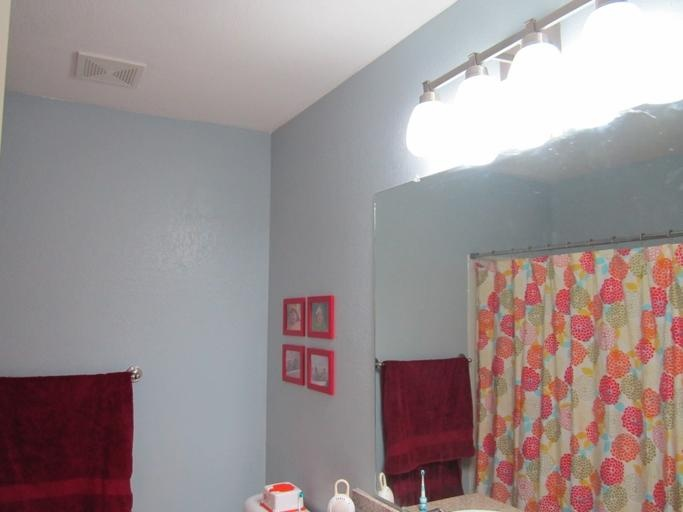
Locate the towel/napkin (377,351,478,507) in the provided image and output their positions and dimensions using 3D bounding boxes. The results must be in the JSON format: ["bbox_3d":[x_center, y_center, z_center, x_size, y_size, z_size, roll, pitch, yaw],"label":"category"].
[{"bbox_3d":[0.292,0.570,1.771,0.125,0.574,0.382,24,-35,-39],"label":"towel/napkin"}]

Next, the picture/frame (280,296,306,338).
[{"bbox_3d":[-0.227,0.294,2.594,0.011,0.176,0.167,4,-7,-41],"label":"picture/frame"}]

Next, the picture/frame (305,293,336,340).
[{"bbox_3d":[-0.101,0.269,2.383,0.016,0.179,0.170,-4,-6,35],"label":"picture/frame"}]

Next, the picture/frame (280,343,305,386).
[{"bbox_3d":[-0.225,0.514,2.568,0.013,0.198,0.192,3,-11,-29],"label":"picture/frame"}]

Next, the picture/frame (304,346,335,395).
[{"bbox_3d":[-0.089,0.498,2.350,0.017,0.223,0.205,2,-6,-32],"label":"picture/frame"}]
